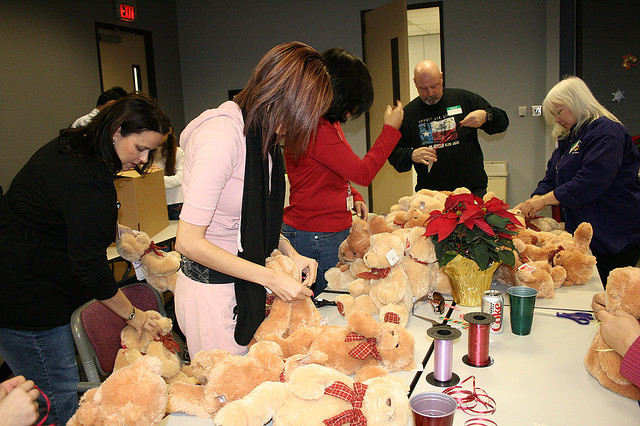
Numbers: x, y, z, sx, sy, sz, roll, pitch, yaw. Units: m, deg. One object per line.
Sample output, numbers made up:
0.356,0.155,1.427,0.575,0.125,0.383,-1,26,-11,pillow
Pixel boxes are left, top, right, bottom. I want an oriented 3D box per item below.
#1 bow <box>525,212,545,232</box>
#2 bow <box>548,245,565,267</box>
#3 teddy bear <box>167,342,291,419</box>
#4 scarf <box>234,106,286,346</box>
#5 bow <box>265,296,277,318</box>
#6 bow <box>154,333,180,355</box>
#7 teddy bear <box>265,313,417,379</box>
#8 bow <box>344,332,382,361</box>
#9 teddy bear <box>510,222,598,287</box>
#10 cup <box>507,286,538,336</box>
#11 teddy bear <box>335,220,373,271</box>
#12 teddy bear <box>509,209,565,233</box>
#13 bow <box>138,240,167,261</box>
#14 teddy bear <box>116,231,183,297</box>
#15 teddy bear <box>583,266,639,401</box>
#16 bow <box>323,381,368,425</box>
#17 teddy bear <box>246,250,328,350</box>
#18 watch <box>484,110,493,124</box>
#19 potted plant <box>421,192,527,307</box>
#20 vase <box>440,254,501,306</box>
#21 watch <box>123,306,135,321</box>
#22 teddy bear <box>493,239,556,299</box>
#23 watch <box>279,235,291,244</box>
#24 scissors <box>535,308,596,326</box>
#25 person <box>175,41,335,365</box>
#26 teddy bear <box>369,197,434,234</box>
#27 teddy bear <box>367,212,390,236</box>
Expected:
1.441,0.076,3.175,0.091,0.032,0.226,15,38,23,bow
1.348,0.243,2.719,0.026,0.108,0.083,29,-12,34,bow
-0.361,0.692,1.828,0.369,0.167,0.291,-8,16,2,teddy bear
-0.268,0.056,2.096,0.172,1.035,0.334,2,11,11,scarf
-0.215,0.438,2.146,0.021,0.068,0.052,21,-8,4,bow
-0.759,0.650,2.351,0.089,0.054,0.067,31,-35,-7,bow
0.148,0.557,1.913,0.451,0.203,0.301,-2,4,-3,teddy bear
0.178,0.560,1.923,0.156,0.139,0.091,1,11,4,bow
1.360,0.221,2.786,0.450,0.251,0.465,4,15,27,teddy bear
0.967,0.477,2.247,0.146,0.199,0.153,8,-30,5,cup
0.170,0.208,2.621,0.104,0.274,0.199,17,22,-16,teddy bear
1.432,0.057,3.105,0.310,0.129,0.109,11,-2,4,teddy bear
-1.002,0.209,2.792,0.105,0.047,0.108,22,33,36,bow
-1.007,0.312,2.786,0.370,0.395,0.192,-1,11,-7,teddy bear
1.210,0.481,1.926,0.196,0.504,0.160,6,12,28,teddy bear
0.092,0.668,1.668,0.157,0.120,0.113,0,11,1,bow
-0.099,0.408,2.263,0.355,0.517,0.370,3,-8,6,teddy bear
1.401,-0.796,3.938,0.066,0.103,0.077,9,14,40,watch
0.735,0.186,2.557,0.526,0.513,0.547,-4,8,-19,potted plant
0.776,0.342,2.406,0.271,0.210,0.273,-2,1,2,vase
-0.966,0.527,2.397,0.051,0.059,0.073,-5,12,-26,watch
1.084,0.316,2.607,0.245,0.165,0.367,-18,16,-37,teddy bear
-0.187,0.143,2.522,0.052,0.056,0.014,0,21,7,watch
1.228,0.510,2.357,0.202,0.017,0.119,0,16,25,scissors
-0.305,-0.027,2.085,0.682,1.397,0.449,-4,11,-20,person
0.472,0.034,2.737,0.279,0.119,0.209,-21,-4,23,teddy bear
0.329,0.066,2.677,0.096,0.133,0.052,-19,-21,13,teddy bear
